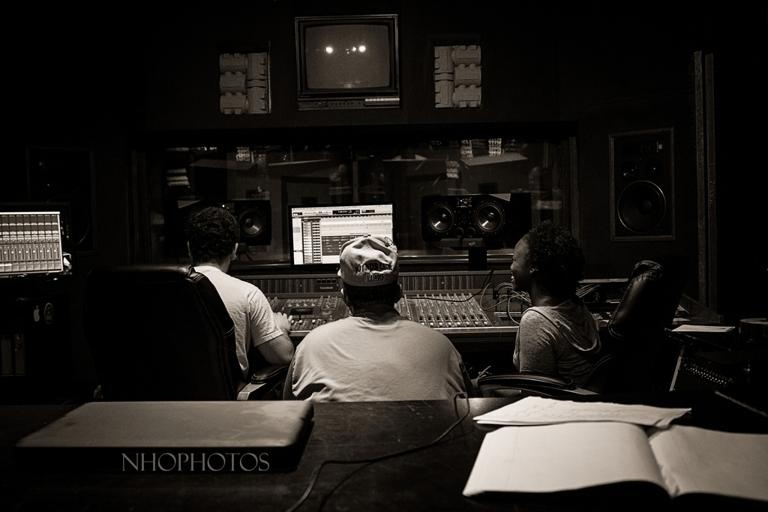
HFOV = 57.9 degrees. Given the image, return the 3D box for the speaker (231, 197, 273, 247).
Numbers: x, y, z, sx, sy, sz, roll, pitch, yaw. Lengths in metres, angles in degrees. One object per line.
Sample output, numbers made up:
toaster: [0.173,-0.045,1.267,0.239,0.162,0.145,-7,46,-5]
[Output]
speaker: [-0.909,-0.253,5.140,0.380,0.389,0.291,-1,4,-9]

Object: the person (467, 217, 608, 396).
person: [0.852,0.243,3.413,0.421,0.807,0.572,-1,4,10]

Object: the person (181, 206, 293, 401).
person: [-0.750,0.191,3.707,0.541,0.923,0.695,-3,4,-15]
